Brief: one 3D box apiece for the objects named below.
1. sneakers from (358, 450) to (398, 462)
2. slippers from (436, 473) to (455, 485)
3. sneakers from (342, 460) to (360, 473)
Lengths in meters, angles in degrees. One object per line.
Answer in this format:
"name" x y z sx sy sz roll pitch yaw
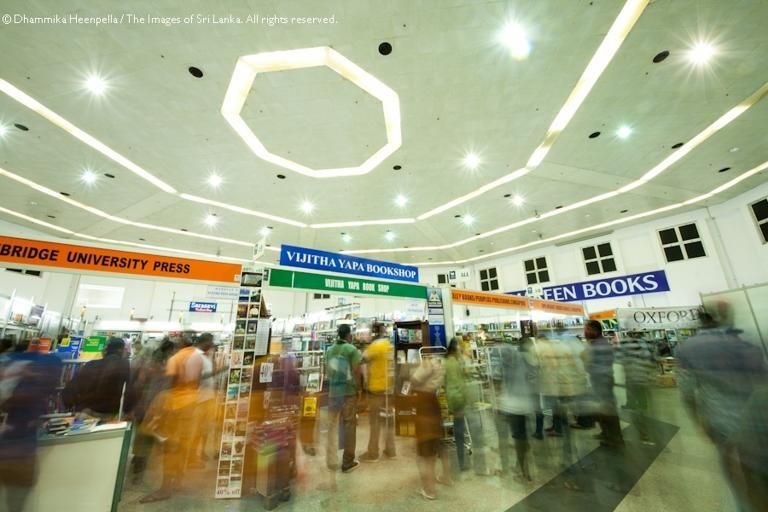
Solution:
"sneakers" -0.101 3.813 8.381 0.707 0.242 0.237 7 -20 -9
"slippers" 1.089 3.887 7.589 0.135 0.088 0.335 6 -7 -38
"sneakers" -0.619 3.824 7.893 0.376 0.157 0.131 2 -5 -36
